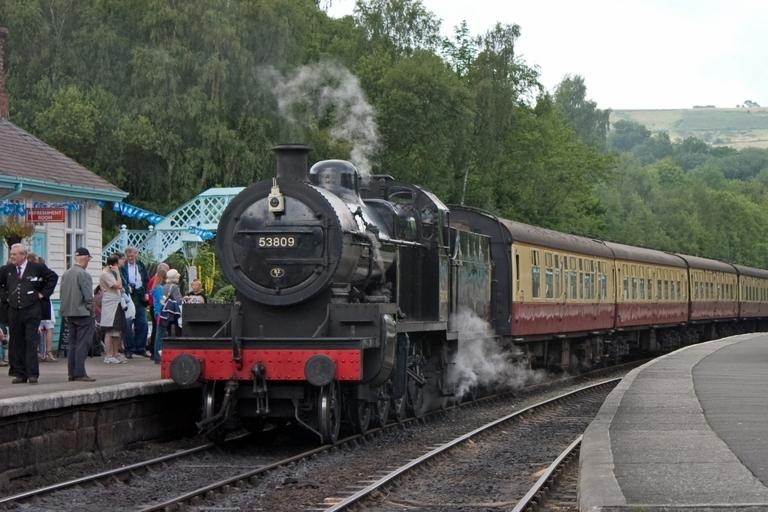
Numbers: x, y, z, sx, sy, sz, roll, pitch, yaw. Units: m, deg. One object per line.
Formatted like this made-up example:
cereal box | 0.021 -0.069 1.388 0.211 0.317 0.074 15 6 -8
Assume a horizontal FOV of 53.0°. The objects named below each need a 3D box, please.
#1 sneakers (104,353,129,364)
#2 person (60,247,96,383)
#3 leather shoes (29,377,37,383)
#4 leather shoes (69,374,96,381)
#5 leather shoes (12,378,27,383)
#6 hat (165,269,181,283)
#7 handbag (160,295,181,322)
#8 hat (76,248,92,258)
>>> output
sneakers | -5.759 2.204 16.315 0.353 0.124 0.287 0 -2 29
person | -5.281 0.990 13.283 0.545 2.307 1.000 1 -6 -23
leather shoes | -5.726 2.046 12.624 0.161 0.067 0.055 2 -5 3
leather shoes | -5.058 2.062 12.963 0.403 0.167 0.152 -2 -3 3
leather shoes | -5.991 2.054 12.662 0.231 0.102 0.087 4 -2 7
hat | -4.625 0.376 16.883 0.345 0.290 0.353 1 -33 -17
handbag | -4.561 1.143 16.524 0.504 0.508 0.304 1 -9 -10
hat | -5.439 -0.059 14.004 0.247 0.202 0.370 4 6 9
